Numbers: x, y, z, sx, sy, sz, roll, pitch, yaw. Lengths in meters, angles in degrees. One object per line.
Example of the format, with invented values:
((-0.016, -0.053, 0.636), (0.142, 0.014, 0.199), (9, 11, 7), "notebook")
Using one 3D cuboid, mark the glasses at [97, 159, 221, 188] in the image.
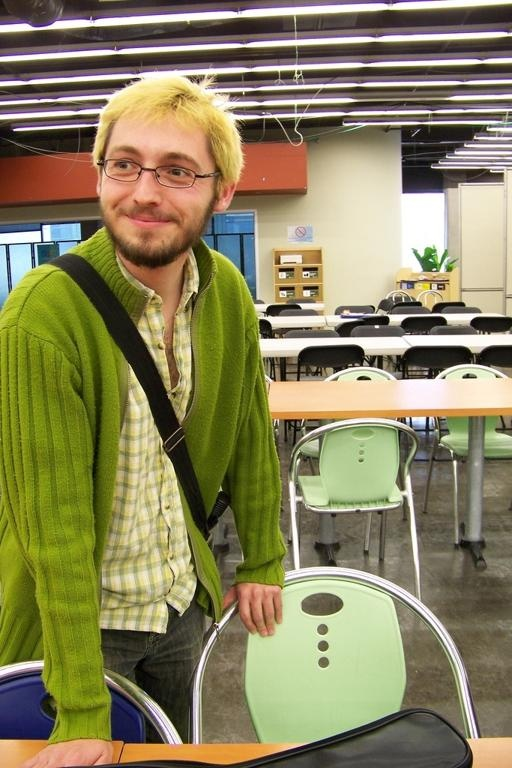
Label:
((-0.134, -0.290, 0.829), (0.149, 0.045, 0.044), (-4, 6, -12), "glasses")
